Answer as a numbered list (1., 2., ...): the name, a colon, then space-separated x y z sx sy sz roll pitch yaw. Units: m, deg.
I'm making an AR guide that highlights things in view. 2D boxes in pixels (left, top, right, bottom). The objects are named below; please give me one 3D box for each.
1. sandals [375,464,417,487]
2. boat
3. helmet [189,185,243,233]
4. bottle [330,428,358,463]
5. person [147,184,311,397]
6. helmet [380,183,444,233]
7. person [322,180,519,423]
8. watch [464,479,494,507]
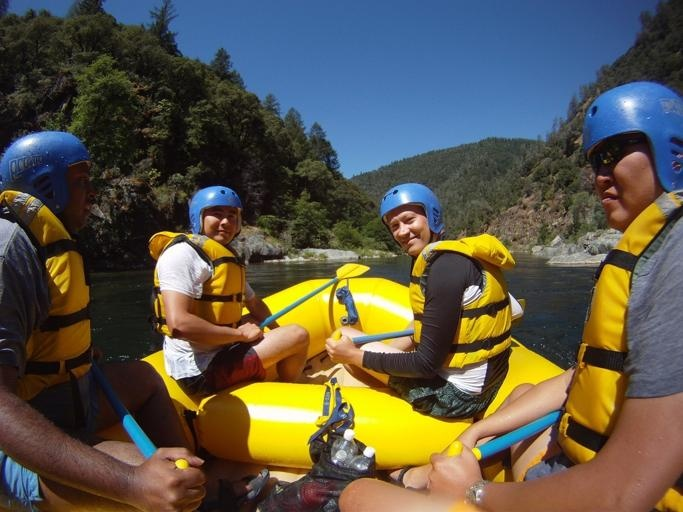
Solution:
1. sandals: 0.284 1.131 2.745 0.163 0.055 0.149 9 -4 1
2. boat: 0.060 0.842 2.977 2.169 0.506 1.345 1 8 2
3. helmet: -0.752 -0.259 3.353 0.313 0.316 0.359 3 -9 -8
4. bottle: 0.010 0.865 2.381 0.125 0.202 0.117 5 -17 1
5. person: -0.739 0.133 3.679 1.151 1.825 1.036 -5 6 -18
6. helmet: 0.404 -0.278 3.011 0.294 0.316 0.374 -12 15 -41
7. person: 0.424 0.238 2.851 0.966 1.300 0.773 -1 0 -22
8. watch: 0.461 0.809 1.779 0.020 0.072 0.063 32 -19 -16
